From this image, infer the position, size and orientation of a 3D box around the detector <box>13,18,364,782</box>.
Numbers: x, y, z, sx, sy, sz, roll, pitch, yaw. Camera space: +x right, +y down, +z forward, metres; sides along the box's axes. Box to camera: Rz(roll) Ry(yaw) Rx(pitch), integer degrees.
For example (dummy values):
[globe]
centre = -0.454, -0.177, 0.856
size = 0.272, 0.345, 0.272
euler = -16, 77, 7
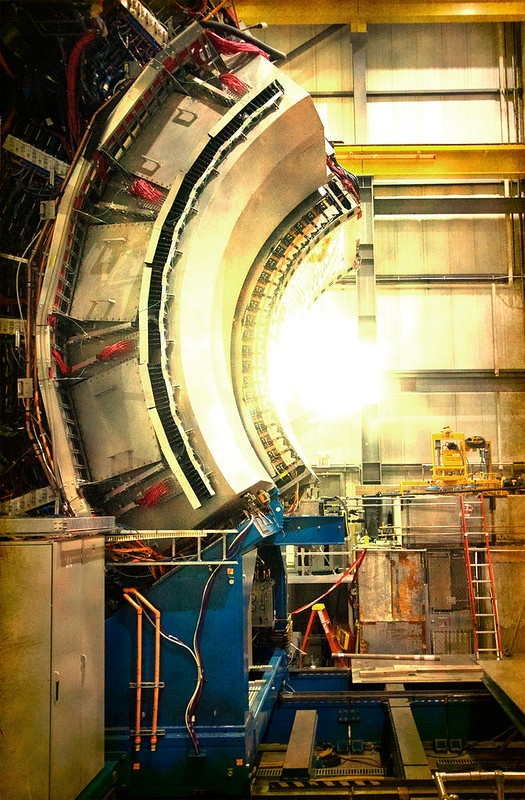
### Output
[detector]
centre = -0.715, -0.218, 7.670
size = 2.008, 6.218, 4.917
euler = 2, 5, 2
